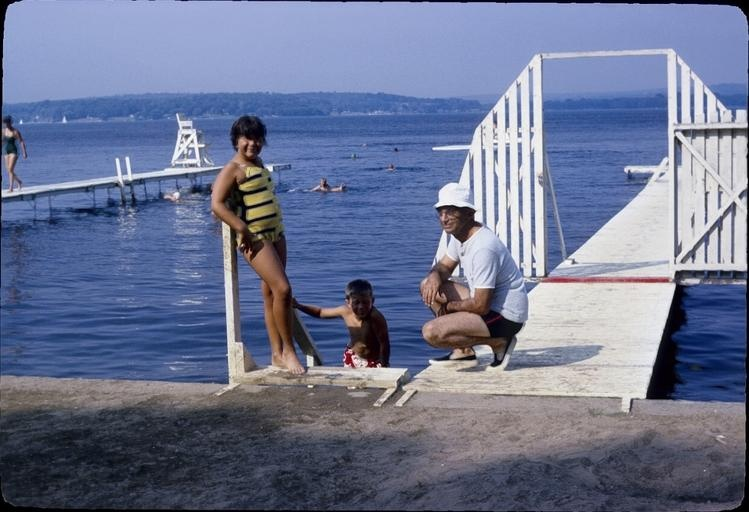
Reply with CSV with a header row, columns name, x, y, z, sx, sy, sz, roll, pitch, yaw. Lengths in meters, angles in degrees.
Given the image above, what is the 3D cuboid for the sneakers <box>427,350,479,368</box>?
name,x,y,z,sx,sy,sz,roll,pitch,yaw
sneakers,0.942,1.188,11.927,0.689,0.207,0.188,1,4,4

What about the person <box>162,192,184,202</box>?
name,x,y,z,sx,sy,sz,roll,pitch,yaw
person,-7.448,-2.170,38.268,0.632,0.395,1.399,-1,6,-20

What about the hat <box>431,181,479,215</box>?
name,x,y,z,sx,sy,sz,roll,pitch,yaw
hat,0.902,-0.686,11.553,0.431,0.304,0.627,-1,11,3

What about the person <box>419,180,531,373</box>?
name,x,y,z,sx,sy,sz,roll,pitch,yaw
person,1.069,0.219,11.596,1.169,2.107,0.797,-4,13,-10

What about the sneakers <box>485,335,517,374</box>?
name,x,y,z,sx,sy,sz,roll,pitch,yaw
sneakers,1.421,1.123,11.571,0.204,0.467,0.210,20,13,-6

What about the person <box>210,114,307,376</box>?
name,x,y,z,sx,sy,sz,roll,pitch,yaw
person,-1.277,-0.092,11.199,0.860,2.820,0.800,-4,13,-8
